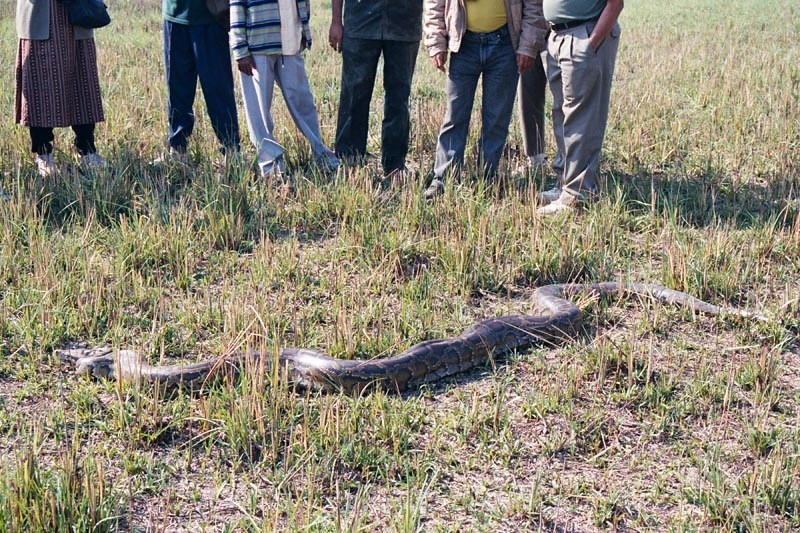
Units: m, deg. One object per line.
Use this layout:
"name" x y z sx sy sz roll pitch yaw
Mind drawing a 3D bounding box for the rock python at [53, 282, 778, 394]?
"rock python" 0.034 0.753 10.779 6.739 0.750 0.973 -3 23 -10

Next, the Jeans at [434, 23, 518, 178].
"Jeans" 0.977 -2.169 13.157 0.844 2.638 0.701 6 44 4

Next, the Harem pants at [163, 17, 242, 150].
"Harem pants" -2.535 -2.359 13.384 0.802 2.354 0.682 7 33 4

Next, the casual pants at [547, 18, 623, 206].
"casual pants" 2.250 -1.893 12.919 0.729 3.191 1.418 -3 13 -12
